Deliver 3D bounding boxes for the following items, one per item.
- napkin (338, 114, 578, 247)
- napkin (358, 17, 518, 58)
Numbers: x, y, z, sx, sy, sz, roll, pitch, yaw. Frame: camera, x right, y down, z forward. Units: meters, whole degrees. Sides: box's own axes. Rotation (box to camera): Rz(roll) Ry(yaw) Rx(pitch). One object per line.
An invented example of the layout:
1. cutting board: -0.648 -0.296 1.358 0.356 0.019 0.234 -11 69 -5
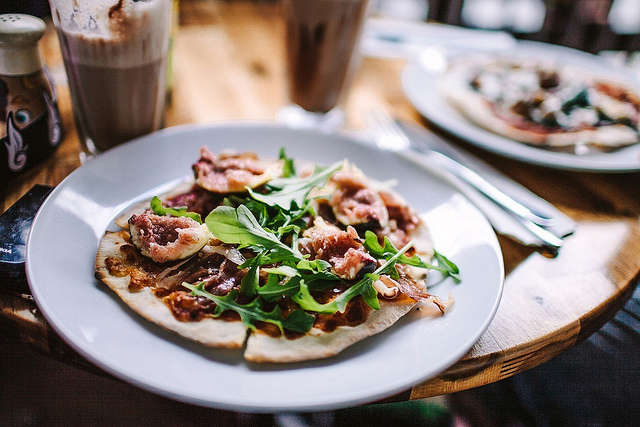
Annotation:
1. napkin: 0.441 -0.129 2.228 1.218 0.051 0.387 33 43 18
2. napkin: 0.680 -1.053 3.005 0.807 0.059 0.304 4 37 -4
